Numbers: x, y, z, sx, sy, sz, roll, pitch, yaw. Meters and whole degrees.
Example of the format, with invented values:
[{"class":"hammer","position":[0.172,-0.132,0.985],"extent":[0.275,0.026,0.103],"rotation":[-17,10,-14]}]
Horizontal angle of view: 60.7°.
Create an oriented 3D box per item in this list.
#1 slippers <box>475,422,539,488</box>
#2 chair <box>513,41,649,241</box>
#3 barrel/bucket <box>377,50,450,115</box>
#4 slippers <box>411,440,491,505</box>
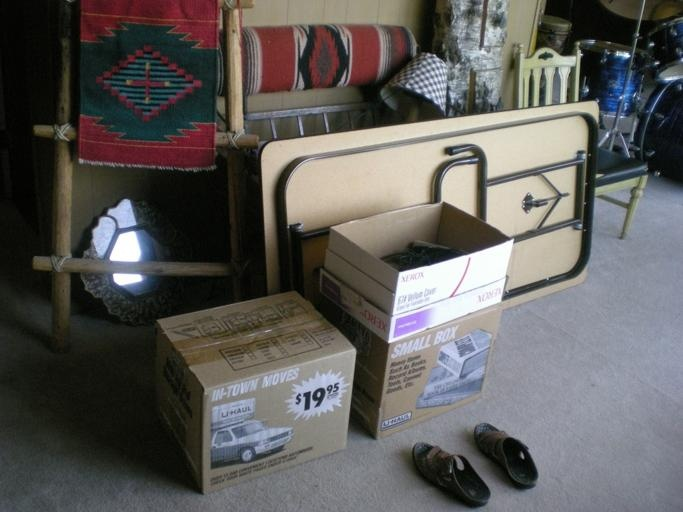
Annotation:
[{"class":"slippers","position":[0.682,0.848,2.447],"extent":[0.129,0.099,0.263],"rotation":[-29,54,-24]},{"class":"chair","position":[1.527,-0.758,3.933],"extent":[1.020,1.191,0.746],"rotation":[16,30,26]},{"class":"barrel/bucket","position":[0.448,-1.013,3.463],"extent":[0.378,0.322,0.279],"rotation":[3,27,2]},{"class":"slippers","position":[0.431,0.896,2.353],"extent":[0.294,0.128,0.144],"rotation":[34,44,23]}]
